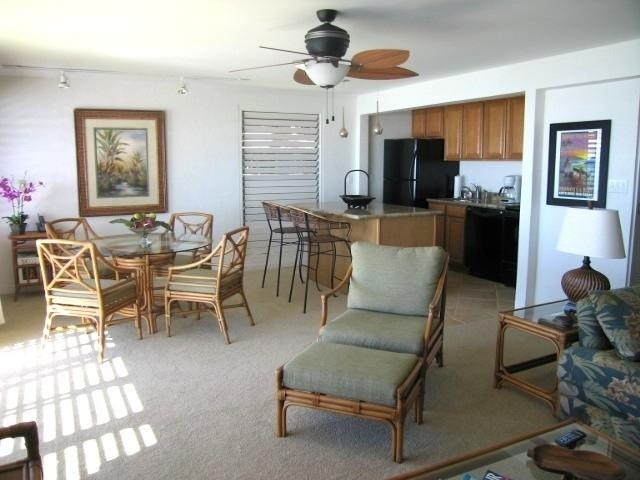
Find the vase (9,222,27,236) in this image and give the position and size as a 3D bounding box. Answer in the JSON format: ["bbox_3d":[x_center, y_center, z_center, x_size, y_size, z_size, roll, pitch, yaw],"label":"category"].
[{"bbox_3d":[-3.511,-0.135,5.441,0.167,0.090,0.147,2,2,-4],"label":"vase"}]

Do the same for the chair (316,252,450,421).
[{"bbox_3d":[0.405,0.550,3.296,0.893,0.780,1.342,4,13,22],"label":"chair"}]

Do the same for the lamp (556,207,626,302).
[{"bbox_3d":[1.896,0.125,3.305,0.388,0.701,0.334,-7,11,-23],"label":"lamp"}]

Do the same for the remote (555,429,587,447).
[{"bbox_3d":[1.247,0.974,2.329,0.164,0.027,0.069,-14,24,-28],"label":"remote"}]

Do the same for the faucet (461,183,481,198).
[{"bbox_3d":[2.304,-0.732,7.091,0.226,0.201,0.282,-1,2,-12],"label":"faucet"}]

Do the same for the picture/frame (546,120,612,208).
[{"bbox_3d":[2.601,-0.769,4.729,0.131,0.856,0.631,-9,12,-31],"label":"picture/frame"}]

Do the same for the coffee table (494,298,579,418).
[{"bbox_3d":[1.588,0.891,3.419,0.782,0.511,0.547,-12,20,-33],"label":"coffee table"}]

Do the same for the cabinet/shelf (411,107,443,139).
[{"bbox_3d":[1.653,-1.800,7.126,0.291,0.323,0.513,-5,15,-19],"label":"cabinet/shelf"}]

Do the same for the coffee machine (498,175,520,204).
[{"bbox_3d":[2.599,-0.710,6.400,0.259,0.358,0.634,1,9,21],"label":"coffee machine"}]

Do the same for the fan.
[{"bbox_3d":[0.216,-1.440,3.578,0.867,0.553,0.889,-2,9,-2],"label":"fan"}]
